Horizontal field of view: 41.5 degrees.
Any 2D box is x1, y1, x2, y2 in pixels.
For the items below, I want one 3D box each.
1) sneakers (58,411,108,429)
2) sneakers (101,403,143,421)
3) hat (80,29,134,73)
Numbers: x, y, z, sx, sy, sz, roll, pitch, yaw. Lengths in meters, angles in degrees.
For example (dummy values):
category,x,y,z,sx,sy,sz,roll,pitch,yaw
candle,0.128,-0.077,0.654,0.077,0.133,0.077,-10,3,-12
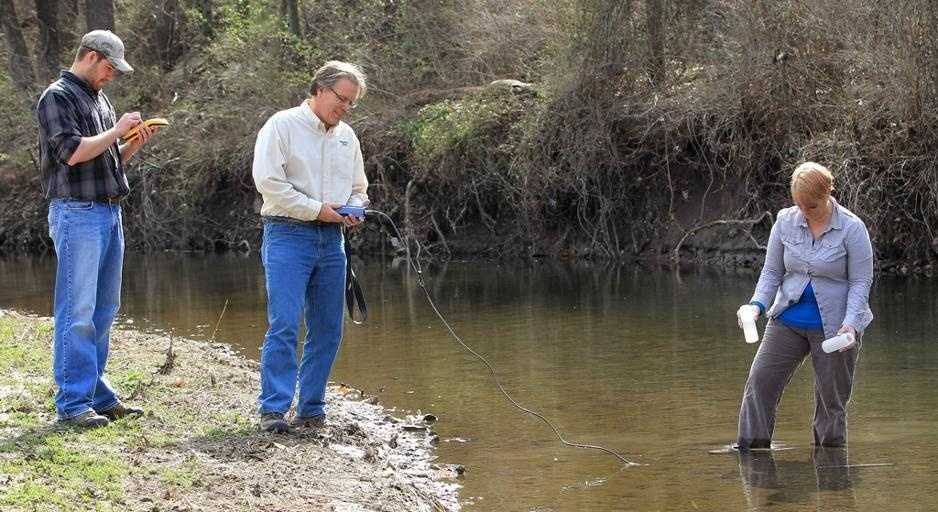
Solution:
category,x,y,z,sx,sy,sz,roll,pitch,yaw
sneakers,-5.703,2.454,18.470,0.772,0.237,0.257,-1,-4,4
sneakers,-5.264,2.355,18.723,0.706,0.233,0.216,-2,1,-8
hat,-5.461,-3.149,18.756,0.976,0.449,0.546,20,8,-10
